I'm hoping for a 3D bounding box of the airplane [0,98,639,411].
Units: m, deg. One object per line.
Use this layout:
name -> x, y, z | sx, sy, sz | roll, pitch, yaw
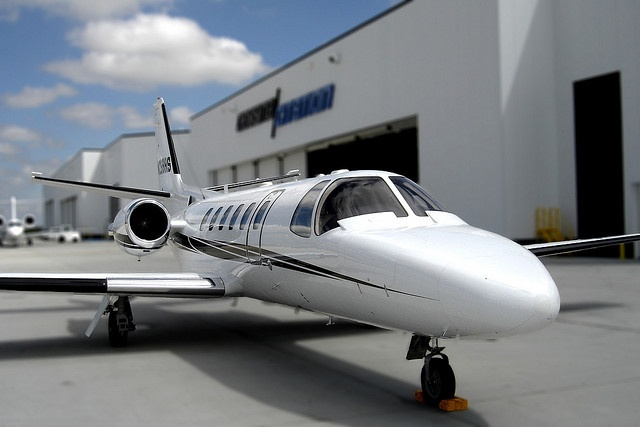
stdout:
airplane -> -0.270, 0.546, 7.689 | 6.589, 2.015, 6.407 | 1, 0, -24
